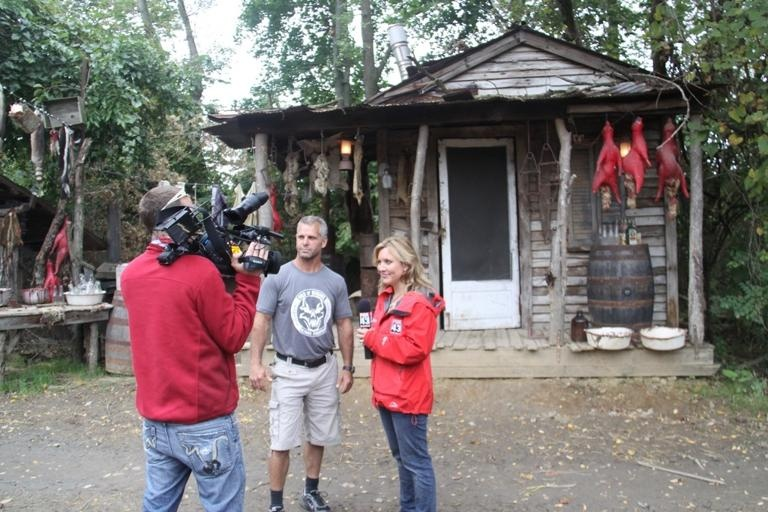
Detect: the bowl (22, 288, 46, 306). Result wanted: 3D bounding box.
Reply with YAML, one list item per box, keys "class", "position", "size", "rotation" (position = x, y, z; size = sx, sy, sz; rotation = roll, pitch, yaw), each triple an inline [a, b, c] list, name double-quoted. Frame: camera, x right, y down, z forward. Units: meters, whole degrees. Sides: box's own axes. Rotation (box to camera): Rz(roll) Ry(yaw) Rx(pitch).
- class: "bowl"
  position: [-5.679, 0.664, 11.122]
  size: [0.282, 0.179, 0.278]
  rotation: [0, -3, 0]

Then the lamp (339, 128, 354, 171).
- class: "lamp"
  position: [-0.628, -1.750, 11.636]
  size: [0.227, 0.544, 0.333]
  rotation: [1, 1, -5]

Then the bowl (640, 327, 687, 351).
- class: "bowl"
  position: [4.147, 1.224, 10.123]
  size: [0.466, 0.171, 0.407]
  rotation: [-9, -3, 37]

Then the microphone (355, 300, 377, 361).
- class: "microphone"
  position: [-0.189, 0.795, 7.556]
  size: [0.173, 0.662, 0.202]
  rotation: [-4, -11, -17]

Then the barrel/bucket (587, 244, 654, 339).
- class: "barrel/bucket"
  position: [3.677, 0.433, 10.618]
  size: [0.968, 1.336, 0.976]
  rotation: [-4, 11, 1]

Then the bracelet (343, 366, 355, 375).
- class: "bracelet"
  position: [-0.384, 1.332, 7.844]
  size: [0.109, 0.110, 0.106]
  rotation: [4, 2, -1]
